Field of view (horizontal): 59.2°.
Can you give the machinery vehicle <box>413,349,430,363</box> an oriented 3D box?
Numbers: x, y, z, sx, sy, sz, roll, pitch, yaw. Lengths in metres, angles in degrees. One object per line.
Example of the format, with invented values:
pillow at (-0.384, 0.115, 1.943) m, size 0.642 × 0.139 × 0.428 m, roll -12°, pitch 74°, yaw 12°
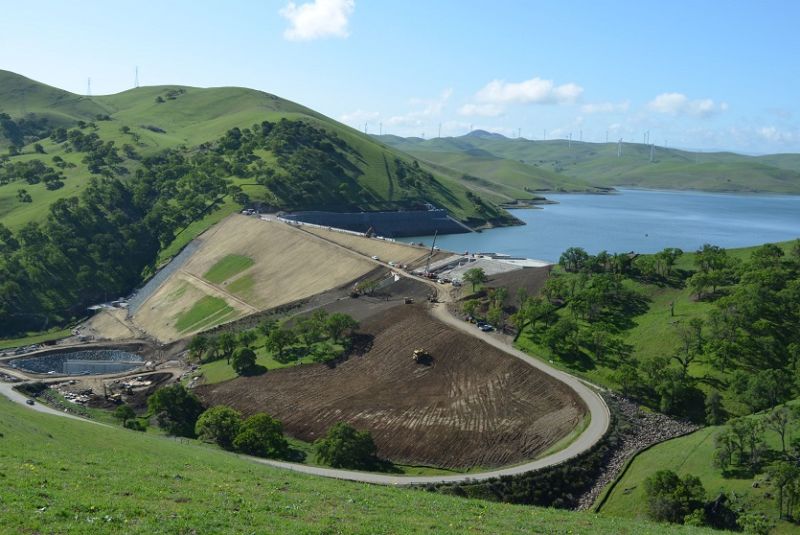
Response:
machinery vehicle at (6.600, 25.794, 203.425) m, size 4.327 × 3.123 × 4.584 m, roll 2°, pitch 10°, yaw -36°
